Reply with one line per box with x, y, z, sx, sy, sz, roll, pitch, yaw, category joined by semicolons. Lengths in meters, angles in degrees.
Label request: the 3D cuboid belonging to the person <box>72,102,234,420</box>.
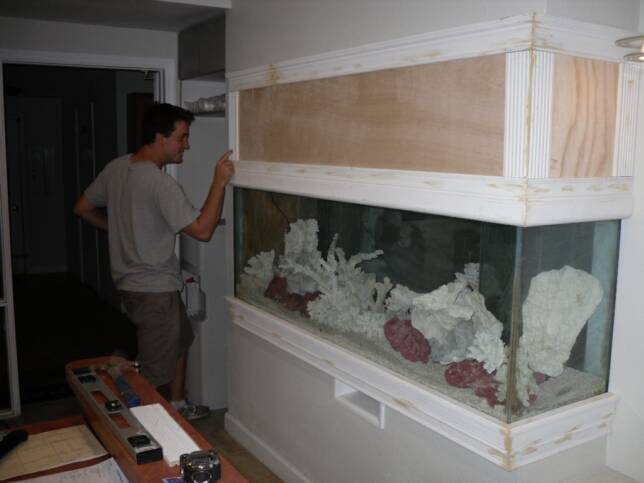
-0.995;0.018;3.102;0.993;1.613;0.448;3;13;26;person

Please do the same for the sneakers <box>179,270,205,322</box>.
-0.873;0.372;3.558;0.163;0.291;0.305;-8;16;-25;sneakers
